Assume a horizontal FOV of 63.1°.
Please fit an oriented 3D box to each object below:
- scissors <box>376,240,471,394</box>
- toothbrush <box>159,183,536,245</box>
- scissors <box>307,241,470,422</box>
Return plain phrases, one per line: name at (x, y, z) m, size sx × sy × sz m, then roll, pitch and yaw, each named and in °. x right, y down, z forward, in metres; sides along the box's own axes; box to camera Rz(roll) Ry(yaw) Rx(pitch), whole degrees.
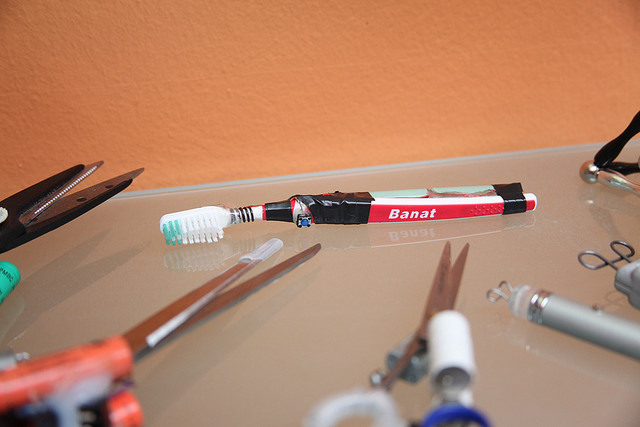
scissors at (0.154, 0.117, 0.636) m, size 0.096 × 0.036 × 0.359 m, roll -26°, pitch 4°, yaw 26°
toothbrush at (0.056, 0.004, 0.755) m, size 0.507 × 0.053 × 0.059 m, roll -2°, pitch -46°, yaw -9°
scissors at (0.108, 0.131, 0.633) m, size 0.093 × 0.194 × 0.267 m, roll -11°, pitch -10°, yaw 44°
